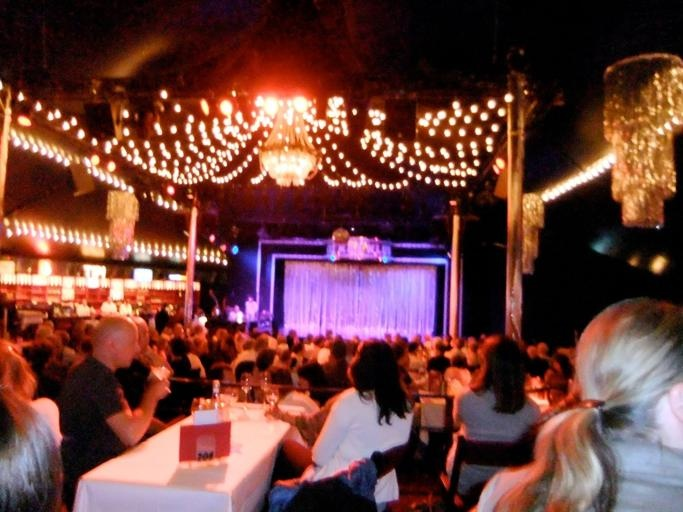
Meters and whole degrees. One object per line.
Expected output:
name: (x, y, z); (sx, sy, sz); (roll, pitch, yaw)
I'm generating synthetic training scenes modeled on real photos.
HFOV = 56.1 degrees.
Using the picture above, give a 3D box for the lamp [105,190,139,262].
lamp: (-3.633, -0.561, 10.614); (0.471, 1.159, 0.738); (2, -5, -20)

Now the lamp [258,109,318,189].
lamp: (-0.688, -1.254, 7.637); (0.669, 1.253, 0.686); (2, -7, -30)
